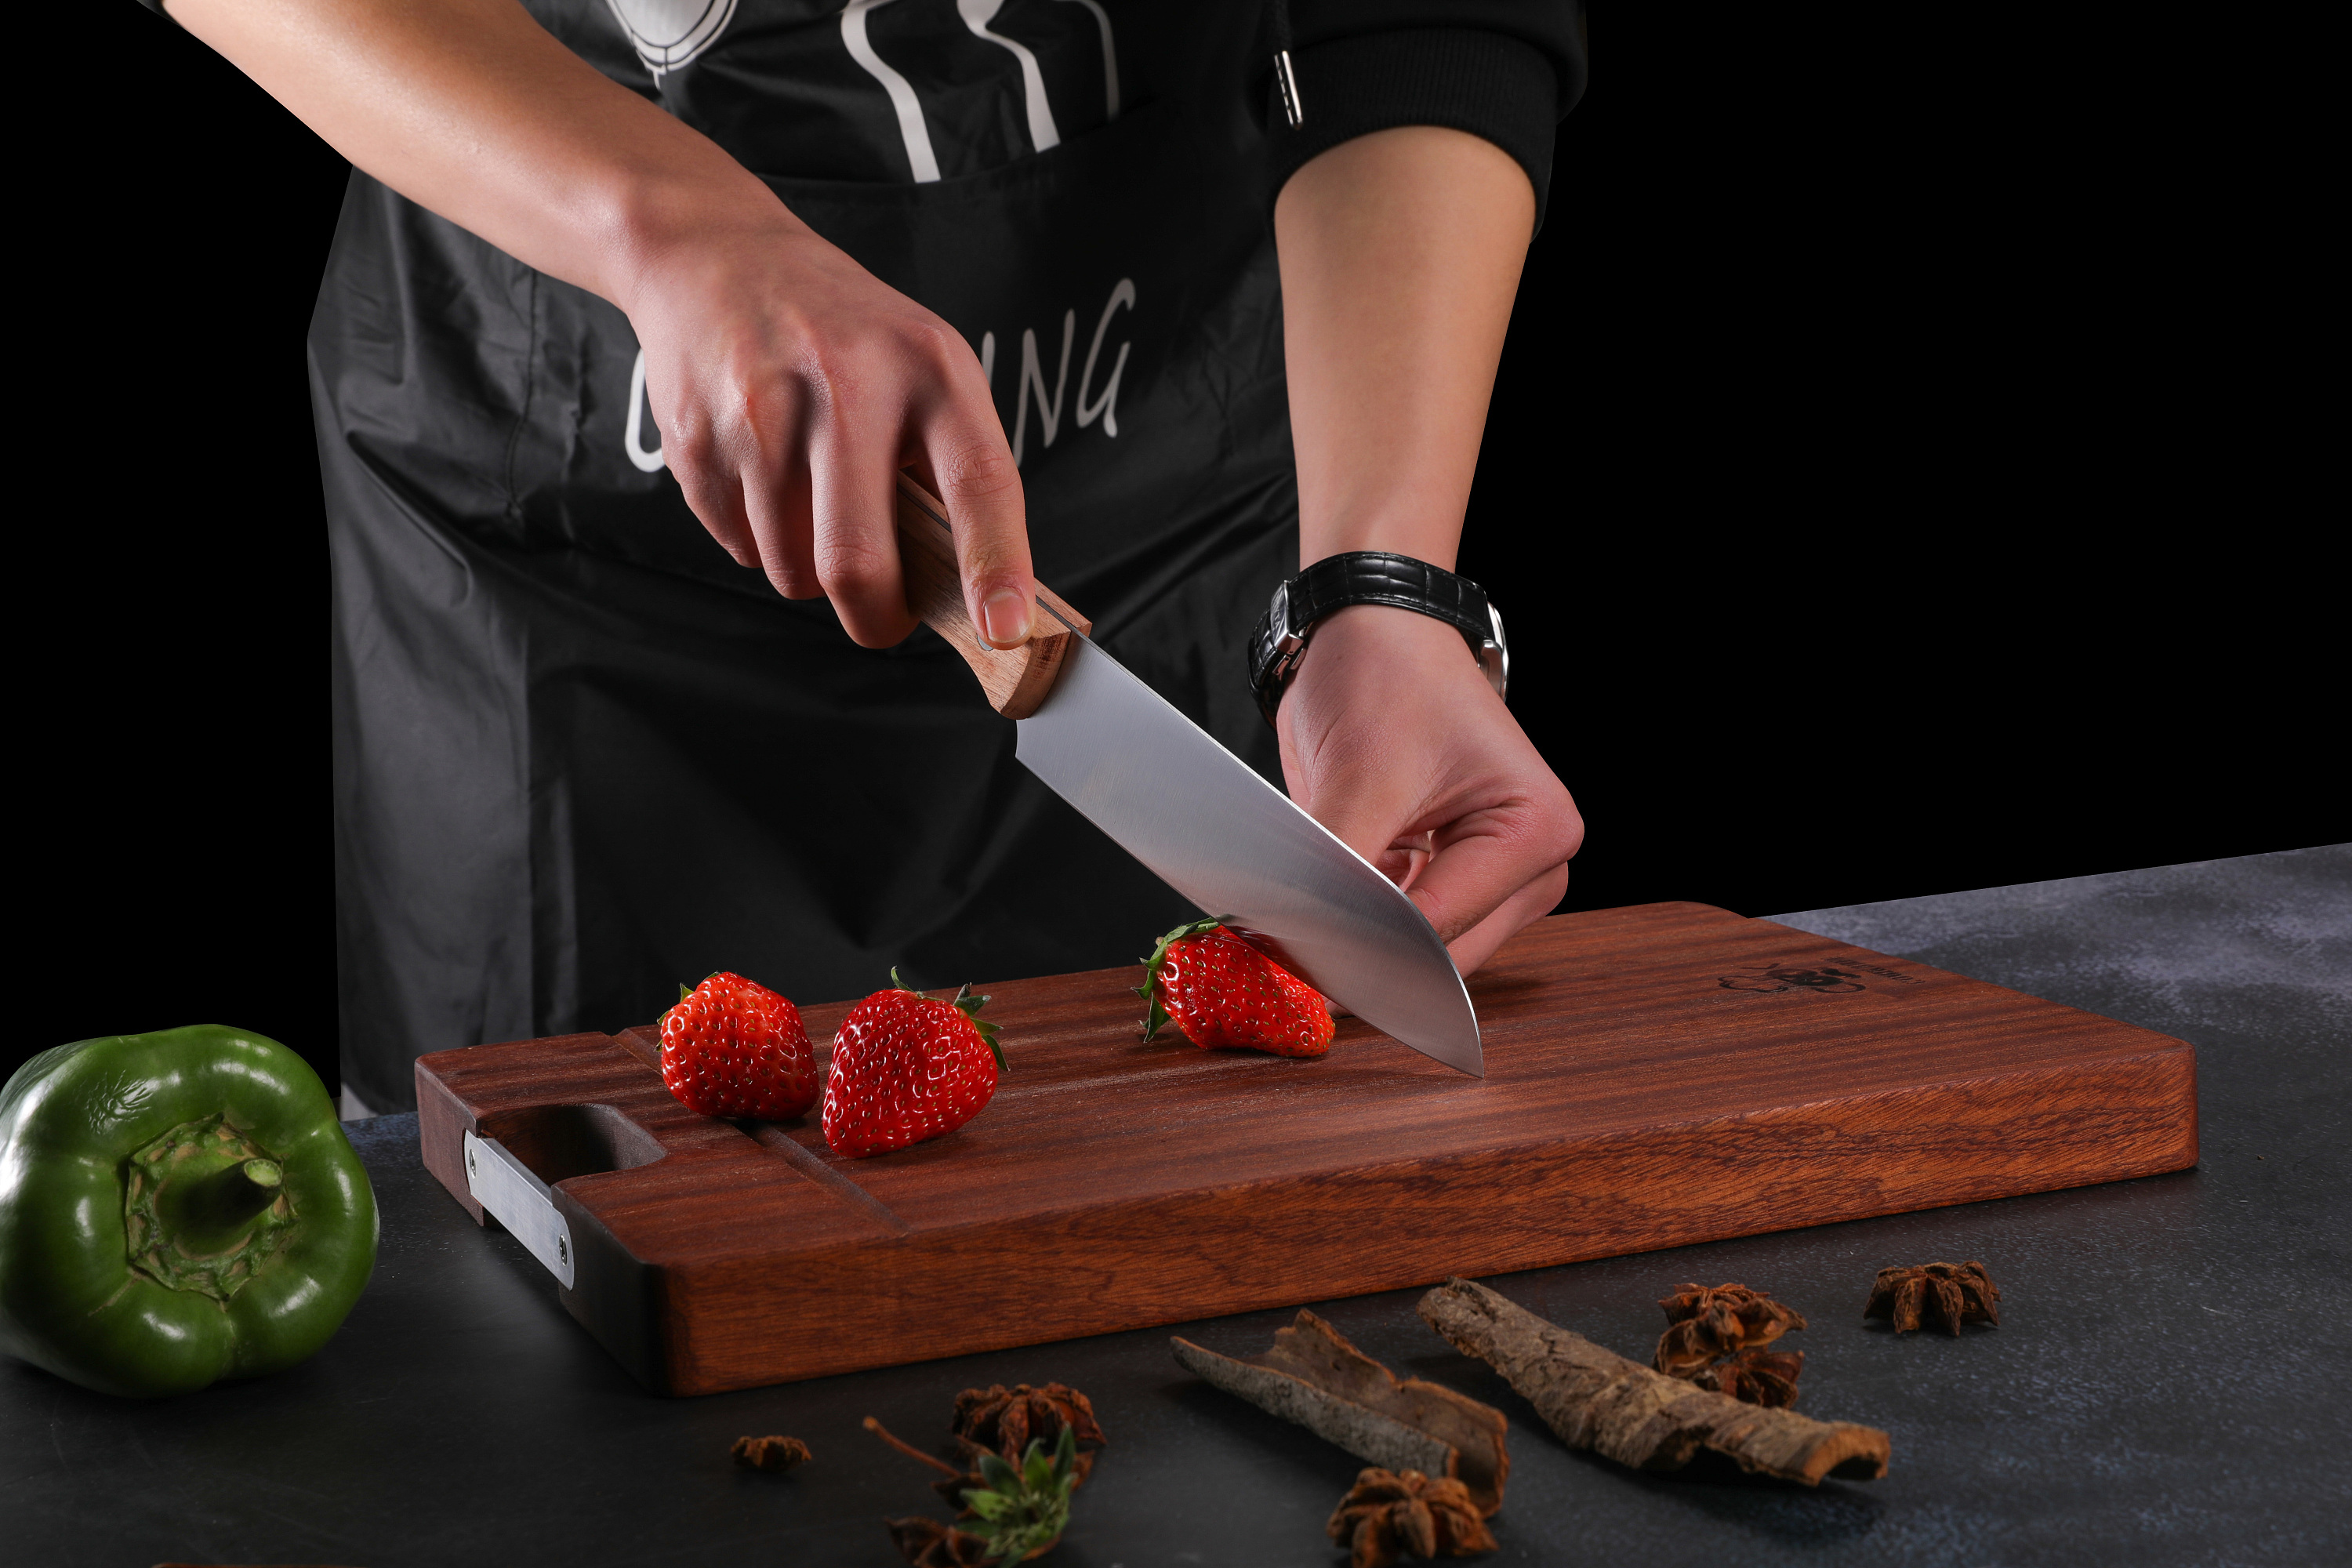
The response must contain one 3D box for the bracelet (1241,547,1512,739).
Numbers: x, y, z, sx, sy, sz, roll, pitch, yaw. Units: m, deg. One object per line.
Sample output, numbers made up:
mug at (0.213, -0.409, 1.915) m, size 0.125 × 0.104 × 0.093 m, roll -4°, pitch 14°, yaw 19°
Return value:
bracelet at (0.219, -0.101, 2.144) m, size 0.235 × 0.226 × 0.149 m, roll 21°, pitch 61°, yaw -26°
